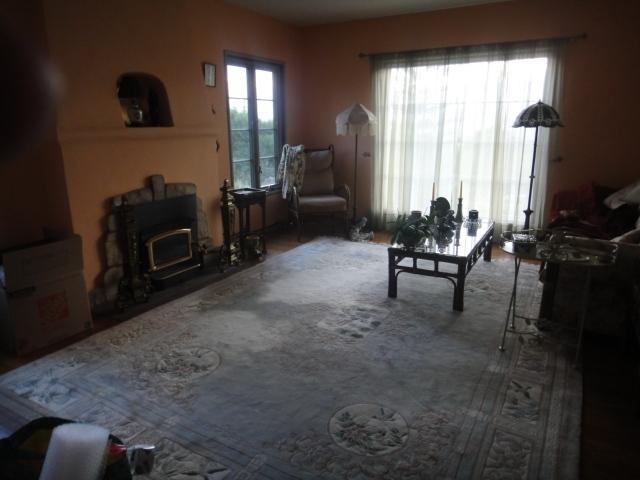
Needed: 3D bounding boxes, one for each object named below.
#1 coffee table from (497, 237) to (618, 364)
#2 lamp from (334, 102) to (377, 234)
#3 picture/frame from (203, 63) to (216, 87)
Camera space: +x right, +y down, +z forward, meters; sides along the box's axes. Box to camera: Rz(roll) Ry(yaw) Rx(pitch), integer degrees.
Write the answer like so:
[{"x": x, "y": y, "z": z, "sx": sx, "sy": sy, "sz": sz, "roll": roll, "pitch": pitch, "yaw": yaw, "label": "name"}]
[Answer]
[{"x": 1.848, "y": 0.381, "z": 3.646, "sx": 0.780, "sy": 0.827, "sz": 0.889, "roll": 4, "pitch": 15, "yaw": 23, "label": "coffee table"}, {"x": 0.527, "y": -1.010, "z": 6.361, "sx": 0.518, "sy": 1.703, "sz": 0.860, "roll": 0, "pitch": 14, "yaw": 8, "label": "lamp"}, {"x": -1.256, "y": -1.889, "z": 5.249, "sx": 0.054, "sy": 0.260, "sz": 0.258, "roll": 4, "pitch": 15, "yaw": 21, "label": "picture/frame"}]
